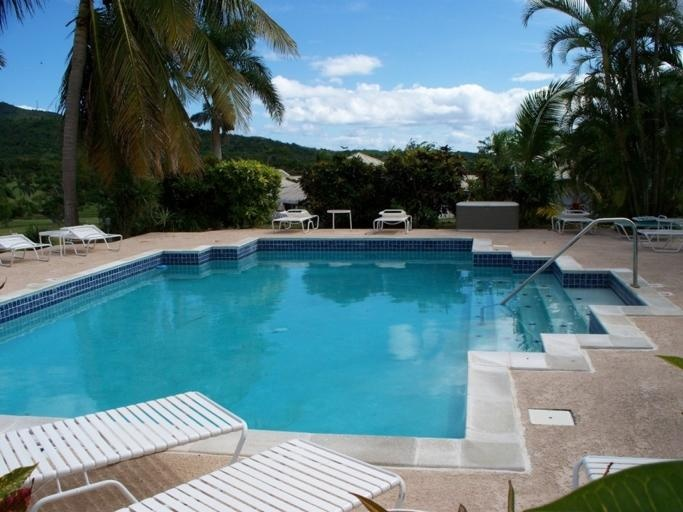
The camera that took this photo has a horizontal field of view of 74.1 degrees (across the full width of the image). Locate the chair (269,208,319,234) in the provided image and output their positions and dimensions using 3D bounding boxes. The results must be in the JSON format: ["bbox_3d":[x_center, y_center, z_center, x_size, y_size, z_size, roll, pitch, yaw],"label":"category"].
[{"bbox_3d":[-1.583,-1.234,15.816,1.306,0.741,2.290,-1,12,1],"label":"chair"}]

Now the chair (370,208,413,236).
[{"bbox_3d":[1.749,-1.127,15.203,1.138,0.586,1.104,1,18,8],"label":"chair"}]

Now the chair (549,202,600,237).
[{"bbox_3d":[6.988,-1.152,13.928,1.005,0.562,1.659,-3,10,10],"label":"chair"}]
